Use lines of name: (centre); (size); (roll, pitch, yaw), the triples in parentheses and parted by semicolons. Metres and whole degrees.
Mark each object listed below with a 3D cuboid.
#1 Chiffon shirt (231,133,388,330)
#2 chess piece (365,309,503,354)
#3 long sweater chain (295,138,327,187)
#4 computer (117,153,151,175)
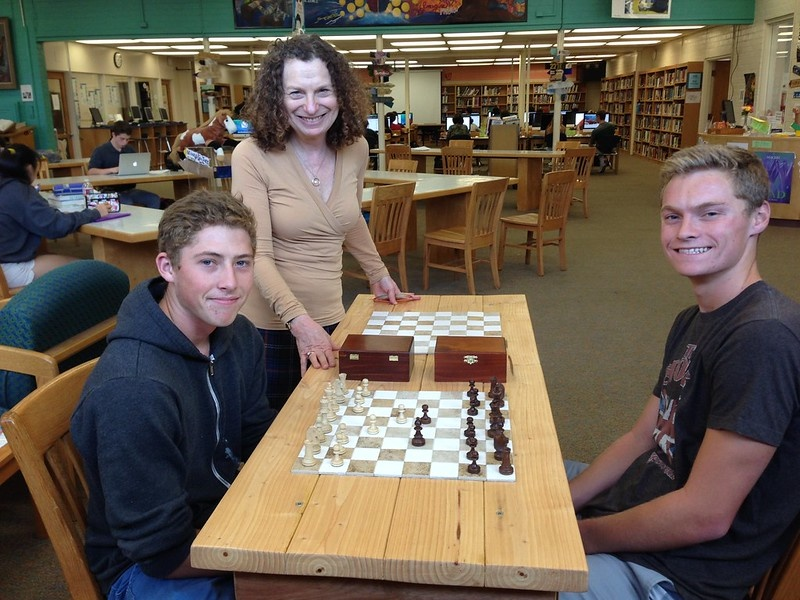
Chiffon shirt: (-0.319, -0.266, 2.300); (0.571, 0.760, 0.438); (-15, 31, -40)
chess piece: (0.123, 0.079, 2.239); (0.558, 0.132, 0.532); (2, 8, 4)
long sweater chain: (-0.338, -0.523, 2.216); (0.085, 0.162, 0.038); (-33, 12, -36)
computer: (-3.424, -1.764, 7.510); (0.313, 0.288, 0.458); (20, 22, 37)
